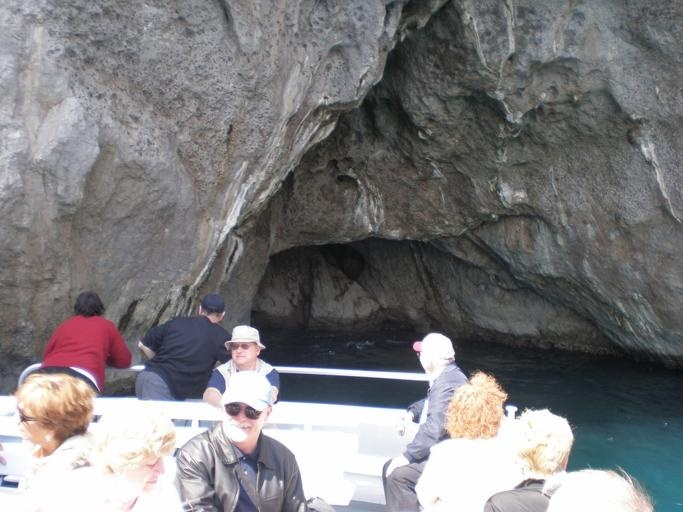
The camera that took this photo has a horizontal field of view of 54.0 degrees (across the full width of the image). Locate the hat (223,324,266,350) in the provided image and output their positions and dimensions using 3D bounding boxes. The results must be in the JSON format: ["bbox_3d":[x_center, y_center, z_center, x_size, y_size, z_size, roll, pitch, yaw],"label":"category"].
[{"bbox_3d":[-0.835,0.703,5.940,0.207,0.161,0.293,-1,-14,2],"label":"hat"}]

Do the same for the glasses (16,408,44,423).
[{"bbox_3d":[-2.049,1.052,4.363,0.098,0.036,0.093,11,-4,-15],"label":"glasses"}]

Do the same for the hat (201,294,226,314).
[{"bbox_3d":[-1.203,0.430,6.351,0.197,0.181,0.356,7,5,-5],"label":"hat"}]

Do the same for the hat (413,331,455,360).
[{"bbox_3d":[0.799,0.760,5.740,0.280,0.162,0.215,22,0,25],"label":"hat"}]

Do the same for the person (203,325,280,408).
[{"bbox_3d":[-0.854,1.019,5.812,0.529,0.818,0.730,3,5,13],"label":"person"}]
